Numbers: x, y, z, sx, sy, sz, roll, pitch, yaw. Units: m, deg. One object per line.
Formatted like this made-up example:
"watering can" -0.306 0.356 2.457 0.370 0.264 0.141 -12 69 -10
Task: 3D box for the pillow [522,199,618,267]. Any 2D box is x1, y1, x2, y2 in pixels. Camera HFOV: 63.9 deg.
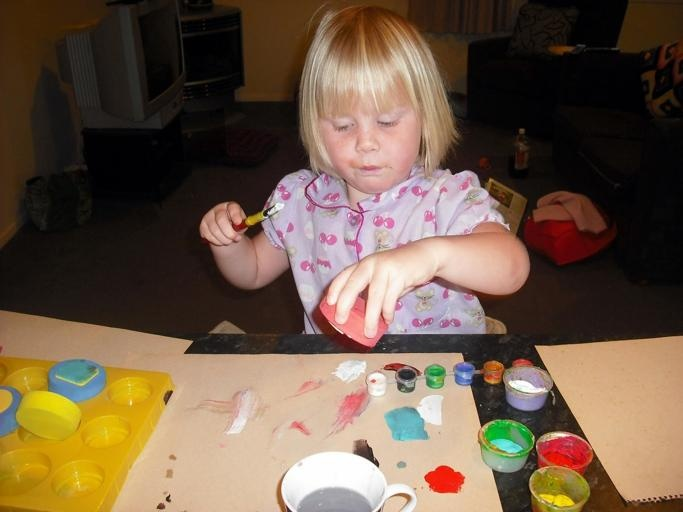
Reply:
"pillow" 1.218 -0.159 2.917 0.451 0.324 0.337 22 39 26

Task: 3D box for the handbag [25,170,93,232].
"handbag" -1.728 -0.345 3.348 0.247 0.420 0.420 4 7 38
